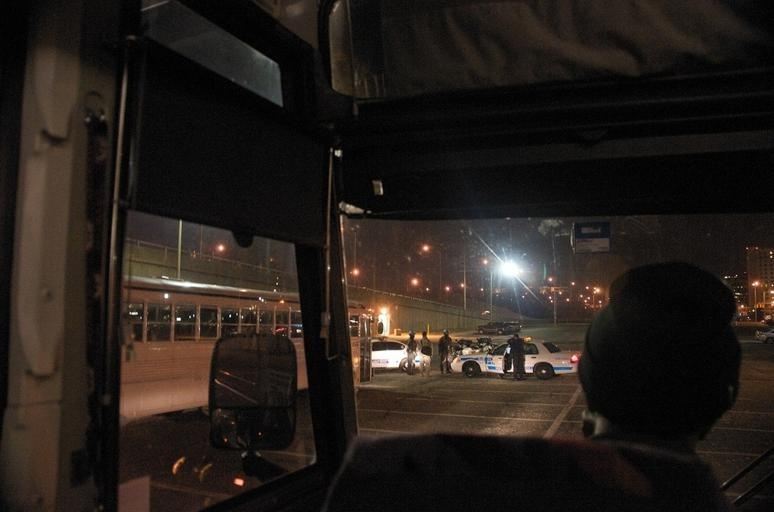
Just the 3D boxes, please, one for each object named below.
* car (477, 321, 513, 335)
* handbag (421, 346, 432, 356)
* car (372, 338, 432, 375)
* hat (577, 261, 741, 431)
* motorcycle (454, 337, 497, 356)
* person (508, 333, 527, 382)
[{"bbox_3d":[9.169,6.072,50.803,2.328,1.019,1.392,4,-5,11],"label":"car"},{"bbox_3d":[1.484,3.540,22.923,0.348,0.319,0.841,10,2,11],"label":"handbag"},{"bbox_3d":[0.523,3.959,23.666,2.394,0.891,1.057,2,-5,2],"label":"car"},{"bbox_3d":[0.981,0.292,2.298,0.462,0.590,0.642,1,26,21],"label":"hat"},{"bbox_3d":[3.319,3.426,23.197,1.174,0.643,0.693,-8,-14,17],"label":"motorcycle"},{"bbox_3d":[4.060,3.138,19.045,0.479,1.435,0.894,10,2,31],"label":"person"}]
